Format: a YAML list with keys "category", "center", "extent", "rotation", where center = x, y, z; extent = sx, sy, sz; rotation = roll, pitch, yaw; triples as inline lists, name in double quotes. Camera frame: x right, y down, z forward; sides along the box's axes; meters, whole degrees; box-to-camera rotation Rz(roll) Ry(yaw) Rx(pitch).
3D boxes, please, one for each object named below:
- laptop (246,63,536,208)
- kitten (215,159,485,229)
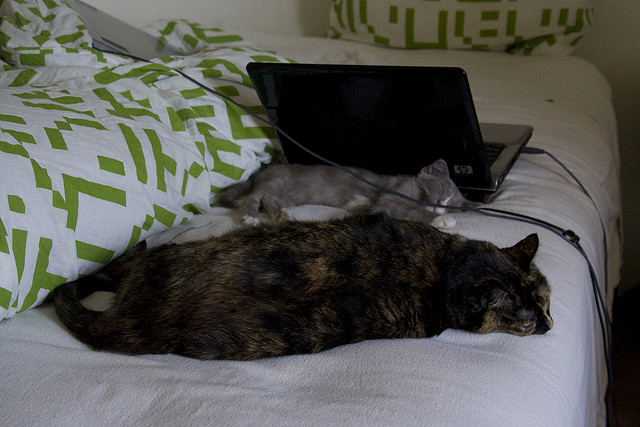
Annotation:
- category: "laptop"
  center: [0.146, -0.237, 1.515]
  extent: [0.536, 0.319, 0.480]
  rotation: [9, 33, 25]
- category: "kitten"
  center: [0.052, -0.051, 1.639]
  extent: [0.850, 0.179, 0.337]
  rotation: [-2, 22, -4]
